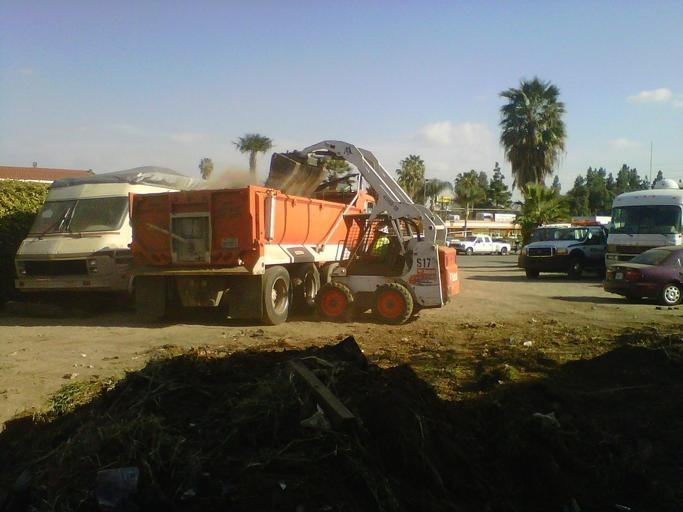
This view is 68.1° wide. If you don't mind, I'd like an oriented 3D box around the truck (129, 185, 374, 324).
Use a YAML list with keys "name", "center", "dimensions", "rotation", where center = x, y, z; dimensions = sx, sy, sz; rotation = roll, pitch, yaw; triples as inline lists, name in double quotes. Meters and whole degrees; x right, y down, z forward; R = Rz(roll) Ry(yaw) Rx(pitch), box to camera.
- name: "truck"
  center: [-1.637, 0.001, 11.651]
  dimensions: [2.806, 2.050, 4.870]
  rotation: [-1, 0, 26]

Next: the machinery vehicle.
- name: "machinery vehicle"
  center: [-0.021, -0.545, 11.764]
  dimensions: [4.784, 3.943, 2.177]
  rotation: [-2, 2, 31]

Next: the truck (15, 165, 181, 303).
- name: "truck"
  center: [-4.829, -0.498, 13.090]
  dimensions: [3.474, 2.886, 5.675]
  rotation: [0, 2, 17]
